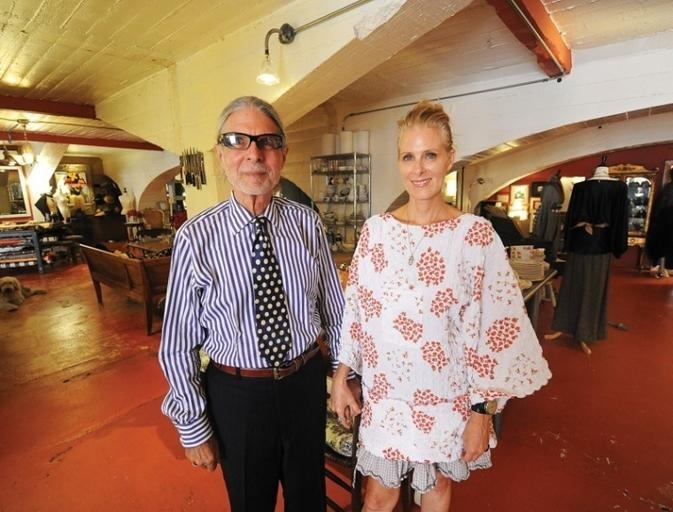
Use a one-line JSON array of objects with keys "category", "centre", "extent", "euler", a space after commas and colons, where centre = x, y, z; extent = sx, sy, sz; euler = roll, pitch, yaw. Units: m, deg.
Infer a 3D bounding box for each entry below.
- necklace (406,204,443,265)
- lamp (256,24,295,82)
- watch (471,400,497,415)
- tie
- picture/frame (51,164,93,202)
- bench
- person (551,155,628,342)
[{"category": "necklace", "centre": [0.511, -0.112, 2.439], "extent": [0.098, 0.343, 0.362], "euler": [2, 2, -4]}, {"category": "lamp", "centre": [-0.536, -1.831, 3.872], "extent": [0.376, 0.526, 0.304], "euler": [-4, 10, -8]}, {"category": "watch", "centre": [0.829, 0.851, 2.398], "extent": [0.085, 0.060, 0.112], "euler": [-2, -6, -19]}, {"category": "tie", "centre": [-0.379, 0.218, 2.457], "extent": [0.212, 0.858, 0.115], "euler": [-5, -6, -11]}, {"category": "picture/frame", "centre": [-8.245, -2.308, 13.459], "extent": [0.552, 1.239, 1.152], "euler": [7, 13, 43]}, {"category": "bench", "centre": [-3.007, 0.498, 6.092], "extent": [1.260, 0.677, 0.454], "euler": [17, 28, 41]}, {"category": "person", "centre": [3.014, 0.104, 5.066], "extent": [0.498, 2.024, 0.588], "euler": [-8, 12, -30]}]
